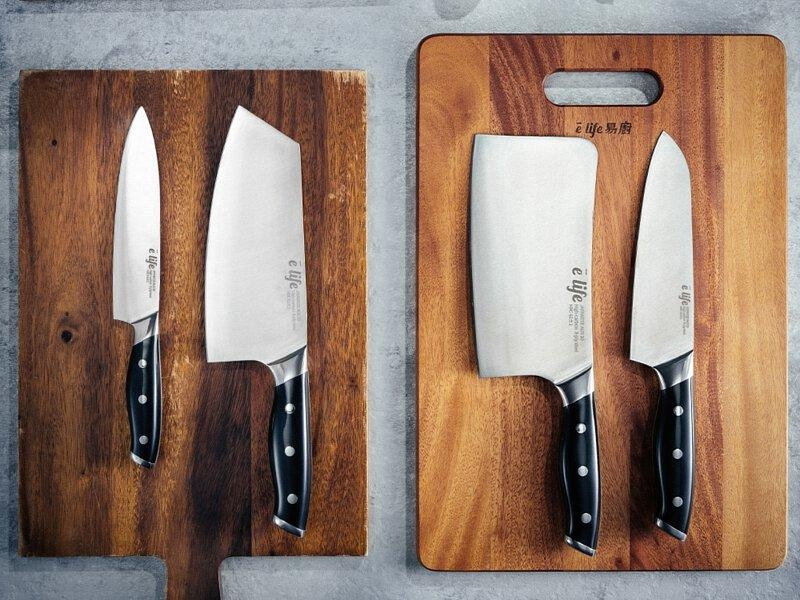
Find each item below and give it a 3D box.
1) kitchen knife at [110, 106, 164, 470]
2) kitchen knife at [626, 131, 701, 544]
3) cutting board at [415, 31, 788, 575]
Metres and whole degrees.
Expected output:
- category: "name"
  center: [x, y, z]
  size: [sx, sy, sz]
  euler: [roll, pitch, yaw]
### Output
- category: "kitchen knife"
  center: [-0.474, -0.022, 1.736]
  size: [0.079, 0.649, 0.031]
  euler: [2, -4, -7]
- category: "kitchen knife"
  center: [0.471, 0.062, 1.714]
  size: [0.101, 0.711, 0.054]
  euler: [2, -6, 6]
- category: "cutting board"
  center: [0.360, 0.043, 1.734]
  size: [0.795, 1.315, 0.044]
  euler: [0, 0, -5]
